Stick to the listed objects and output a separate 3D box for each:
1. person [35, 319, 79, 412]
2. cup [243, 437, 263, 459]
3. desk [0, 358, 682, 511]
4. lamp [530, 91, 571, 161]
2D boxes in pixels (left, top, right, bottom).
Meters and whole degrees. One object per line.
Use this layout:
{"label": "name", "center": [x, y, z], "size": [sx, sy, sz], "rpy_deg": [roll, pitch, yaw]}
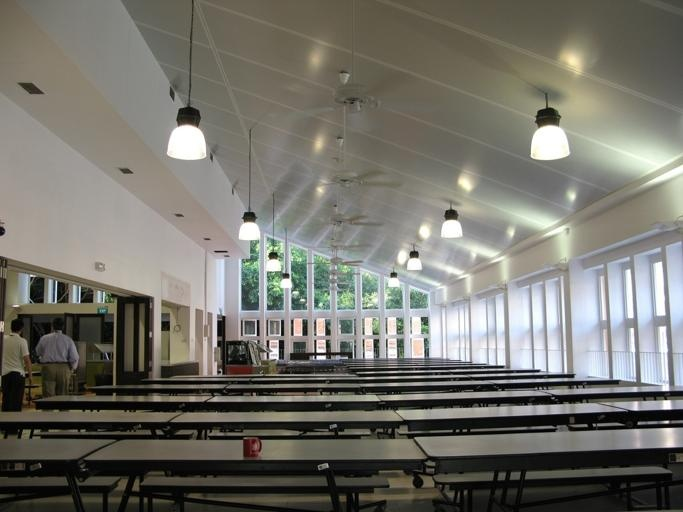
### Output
{"label": "person", "center": [-4.180, 1.582, 9.018], "size": [0.540, 1.401, 0.387], "rpy_deg": [4, 12, -23]}
{"label": "cup", "center": [-0.604, 1.305, 4.180], "size": [0.115, 0.121, 0.119], "rpy_deg": [1, -7, 0]}
{"label": "desk", "center": [0.491, 1.587, 4.901], "size": [4.579, 0.904, 1.743], "rpy_deg": [1, -14, 1]}
{"label": "lamp", "center": [1.958, -1.167, 5.816], "size": [0.324, 0.555, 0.178], "rpy_deg": [-2, -14, 14]}
